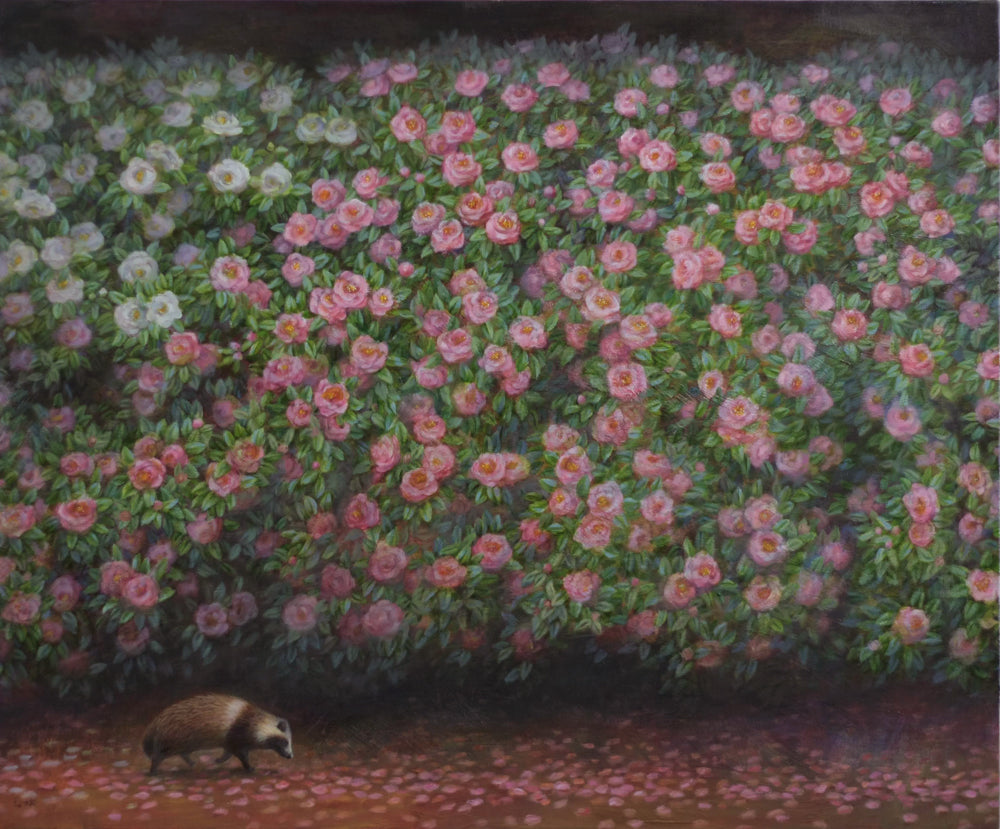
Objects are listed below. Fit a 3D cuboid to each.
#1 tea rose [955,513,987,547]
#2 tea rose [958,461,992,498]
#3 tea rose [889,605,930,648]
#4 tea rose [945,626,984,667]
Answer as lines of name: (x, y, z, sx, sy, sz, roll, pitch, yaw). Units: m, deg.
tea rose: (1.144, 0.283, 3.082, 0.064, 0.039, 0.073, 10, 84, -1)
tea rose: (1.155, 0.159, 3.082, 0.088, 0.049, 0.057, 23, 53, 9)
tea rose: (0.998, 0.517, 3.077, 0.084, 0.048, 0.089, 4, 92, -3)
tea rose: (1.125, 0.564, 3.101, 0.082, 0.083, 0.077, 3, 15, -37)
